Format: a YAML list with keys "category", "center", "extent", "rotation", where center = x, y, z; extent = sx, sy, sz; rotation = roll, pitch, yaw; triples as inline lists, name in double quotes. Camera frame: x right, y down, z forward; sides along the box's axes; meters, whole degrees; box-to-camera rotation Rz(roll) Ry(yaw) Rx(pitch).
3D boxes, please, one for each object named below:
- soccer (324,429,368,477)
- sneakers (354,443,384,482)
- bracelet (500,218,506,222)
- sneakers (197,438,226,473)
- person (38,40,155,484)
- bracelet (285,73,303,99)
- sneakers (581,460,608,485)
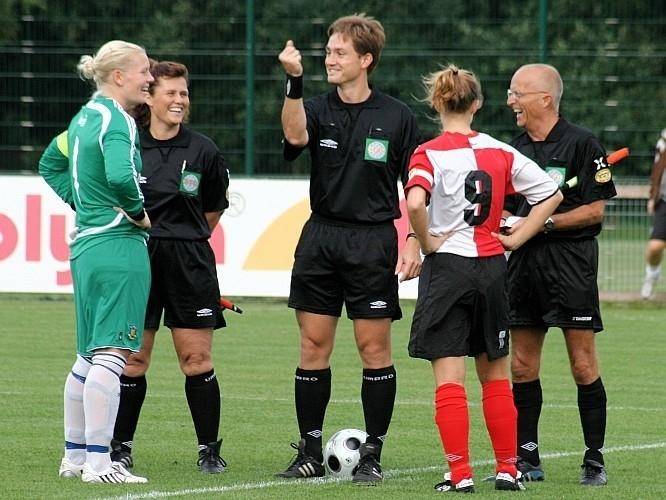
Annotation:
- category: "soccer"
  center: [0.060, 1.651, 10.368]
  extent: [0.322, 0.378, 0.288]
  rotation: [22, -3, 38]
- category: "sneakers"
  center: [0.276, 1.712, 10.148]
  extent: [0.242, 0.285, 0.267]
  rotation: [0, 5, 2]
- category: "bracelet"
  center: [1.404, -0.244, 10.345]
  extent: [0.031, 0.029, 0.022]
  rotation: [0, -2, -39]
- category: "sneakers"
  center: [-1.004, 1.697, 10.373]
  extent: [0.243, 0.247, 0.219]
  rotation: [-1, 5, -6]
- category: "person"
  center: [-1.877, 0.086, 10.100]
  extent: [0.855, 3.499, 0.682]
  rotation: [1, 5, 17]
- category: "bracelet"
  center: [-0.340, -1.329, 10.262]
  extent: [0.165, 0.265, 0.187]
  rotation: [-1, 1, -8]
- category: "sneakers"
  center: [2.123, 1.801, 10.183]
  extent: [0.127, 0.111, 0.264]
  rotation: [2, 7, 13]
